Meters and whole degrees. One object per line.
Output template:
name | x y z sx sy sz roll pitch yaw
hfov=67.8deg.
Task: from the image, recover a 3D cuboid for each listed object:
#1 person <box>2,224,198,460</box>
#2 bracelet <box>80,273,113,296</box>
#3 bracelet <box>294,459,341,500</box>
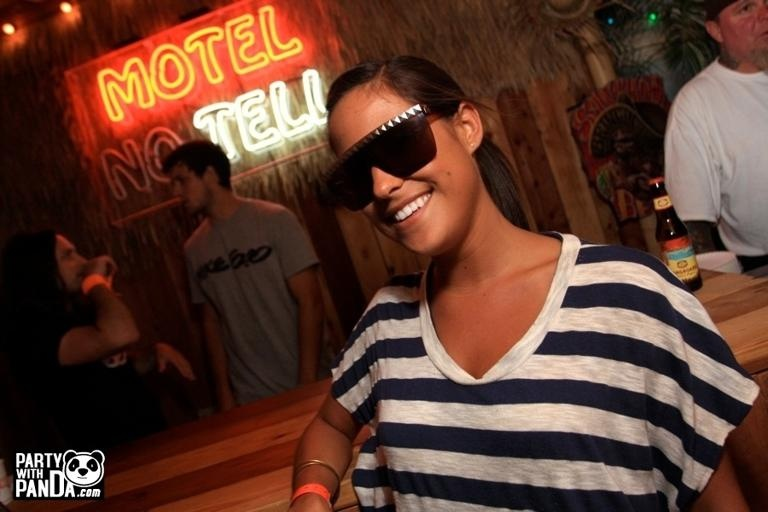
person | -1.633 0.455 3.119 0.646 1.341 0.528 -15 6 4
bracelet | -1.530 0.143 3.069 0.114 0.064 0.117 -10 4 -32
bracelet | -0.204 0.686 1.764 0.122 0.132 0.098 -5 -19 -2
